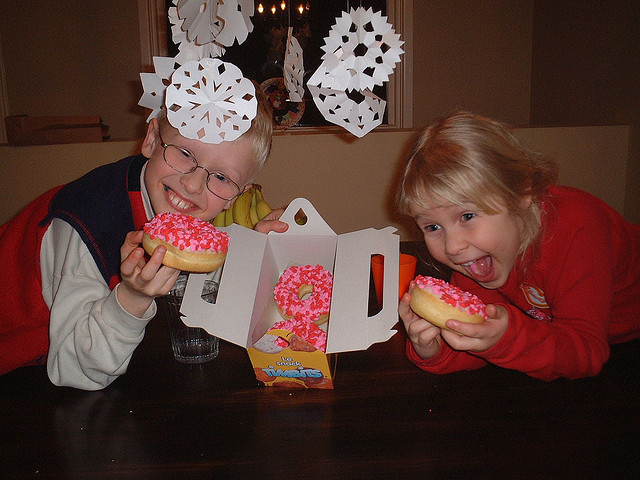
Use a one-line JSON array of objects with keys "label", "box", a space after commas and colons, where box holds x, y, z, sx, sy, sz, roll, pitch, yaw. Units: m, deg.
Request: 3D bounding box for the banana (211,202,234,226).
[{"label": "banana", "box": [-0.357, -0.099, 1.801, 0.061, 0.153, 0.021, 10, 43, -8]}]

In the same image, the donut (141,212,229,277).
[{"label": "donut", "box": [-0.334, -0.027, 1.252, 0.170, 0.064, 0.173, 4, 29, -46]}]

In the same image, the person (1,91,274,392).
[{"label": "person", "box": [-0.540, 0.004, 1.574, 0.603, 0.344, 0.974, 26, 45, 13]}]

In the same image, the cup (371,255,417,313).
[{"label": "cup", "box": [0.220, 0.131, 1.567, 0.146, 0.170, 0.156, 0, 5, 0]}]

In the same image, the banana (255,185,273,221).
[{"label": "banana", "box": [-0.243, -0.156, 2.091, 0.090, 0.044, 0.169, -14, 48, -2]}]

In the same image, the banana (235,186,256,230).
[{"label": "banana", "box": [-0.287, -0.119, 1.878, 0.049, 0.081, 0.239, 25, 26, -9]}]

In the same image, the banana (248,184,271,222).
[{"label": "banana", "box": [-0.263, -0.155, 2.054, 0.047, 0.108, 0.163, 8, 15, -2]}]

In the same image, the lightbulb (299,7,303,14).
[{"label": "lightbulb", "box": [-0.161, -1.974, 4.208, 0.034, 0.041, 0.024, 10, 16, 37]}]

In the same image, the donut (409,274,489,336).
[{"label": "donut", "box": [0.316, 0.145, 1.214, 0.133, 0.052, 0.149, 22, 6, -45]}]
